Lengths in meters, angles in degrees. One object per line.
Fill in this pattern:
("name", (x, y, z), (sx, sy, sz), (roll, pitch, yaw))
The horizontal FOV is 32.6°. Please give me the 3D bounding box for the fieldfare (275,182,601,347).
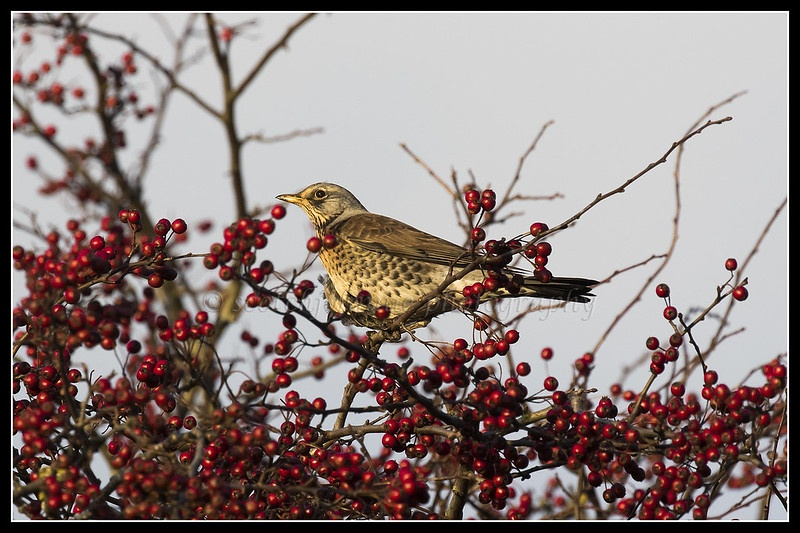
("fieldfare", (0.164, 0.077, 9.699), (2.218, 0.779, 1.422), (1, -89, 41))
